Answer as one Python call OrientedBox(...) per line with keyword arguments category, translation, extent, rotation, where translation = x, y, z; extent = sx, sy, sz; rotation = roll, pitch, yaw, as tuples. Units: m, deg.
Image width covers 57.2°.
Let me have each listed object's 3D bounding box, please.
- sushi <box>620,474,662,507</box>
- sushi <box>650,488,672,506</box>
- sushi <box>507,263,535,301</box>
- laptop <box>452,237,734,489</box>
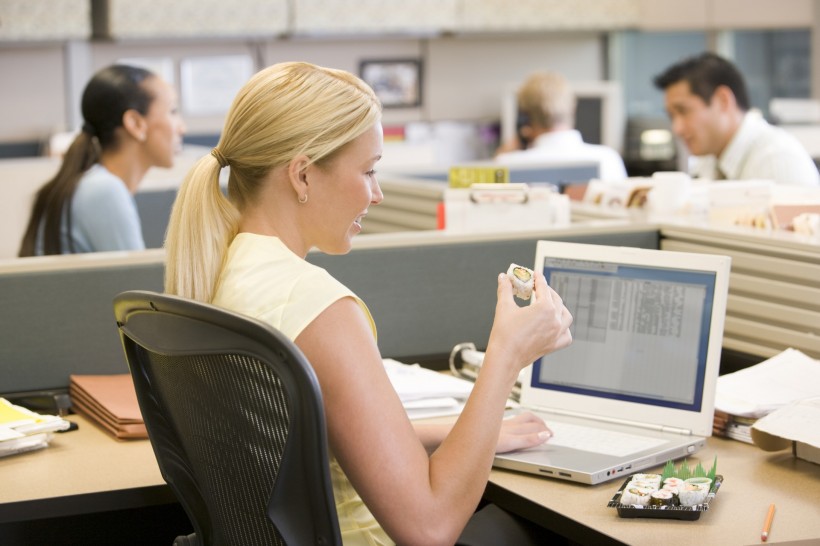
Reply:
OrientedBox(category="sushi", translation=(0.426, 0.402, 1.394), extent=(0.041, 0.018, 0.069), rotation=(3, 10, 13))
OrientedBox(category="sushi", translation=(0.455, 0.411, 1.360), extent=(0.041, 0.018, 0.029), rotation=(-9, 11, -42))
OrientedBox(category="sushi", translation=(0.219, 0.021, 1.543), extent=(0.063, 0.063, 0.047), rotation=(12, -14, -16))
OrientedBox(category="laptop", translation=(0.428, 0.166, 1.713), extent=(0.562, 0.449, 0.487), rotation=(9, 11, 41))
